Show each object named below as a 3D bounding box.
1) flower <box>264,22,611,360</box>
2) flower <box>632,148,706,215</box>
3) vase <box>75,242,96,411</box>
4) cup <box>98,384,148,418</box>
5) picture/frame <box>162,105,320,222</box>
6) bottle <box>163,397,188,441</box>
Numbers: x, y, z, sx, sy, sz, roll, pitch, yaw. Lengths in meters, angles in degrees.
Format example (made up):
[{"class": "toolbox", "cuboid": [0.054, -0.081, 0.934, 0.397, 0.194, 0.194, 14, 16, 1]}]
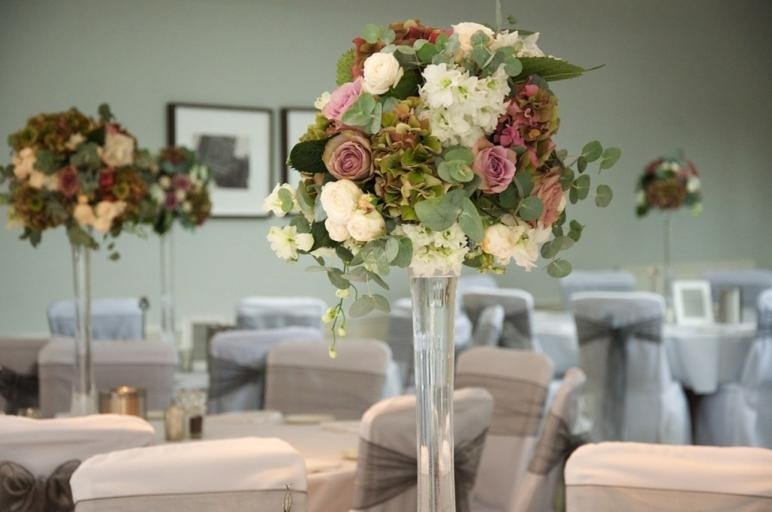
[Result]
[{"class": "flower", "cuboid": [0.125, -0.122, 2.022, 0.468, 0.389, 0.515, -18, 0, 8]}, {"class": "flower", "cuboid": [0.925, -0.223, 2.735, 0.190, 0.212, 0.080, -10, 1, -4]}, {"class": "vase", "cuboid": [-0.960, 0.236, 2.649, 0.070, 0.526, 0.035, 0, -1, -13]}, {"class": "cup", "cuboid": [-0.856, 0.464, 2.719, 0.155, 0.137, 0.169, 5, 14, -1]}, {"class": "picture/frame", "cuboid": [-0.467, -0.283, 2.527, 0.385, 0.310, 0.018, 1, -2, -11]}, {"class": "bottle", "cuboid": [-0.671, 0.533, 2.658, 0.076, 0.106, 0.028, 0, -1, -12]}]
